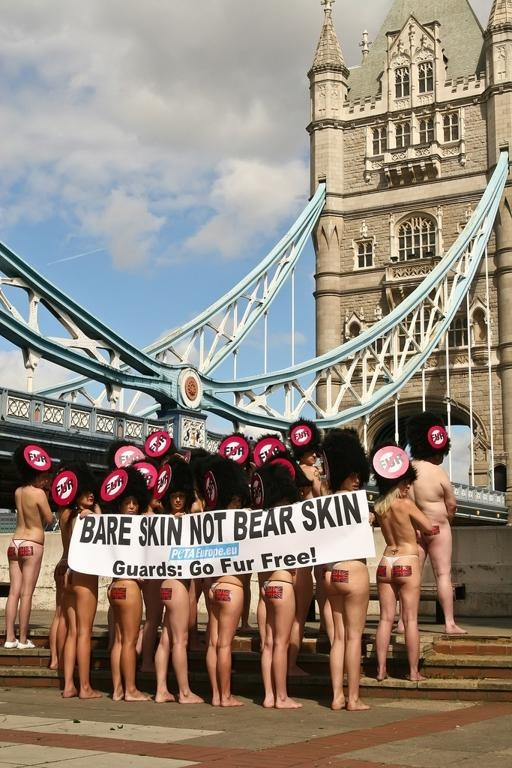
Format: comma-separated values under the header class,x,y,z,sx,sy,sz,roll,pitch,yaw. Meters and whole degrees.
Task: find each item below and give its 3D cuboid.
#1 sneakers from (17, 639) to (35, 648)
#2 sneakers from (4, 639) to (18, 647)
class,x,y,z,sx,sy,sz,roll,pitch,yaw
sneakers,-2.246,2.555,11.289,0.074,0.081,0.204,5,1,30
sneakers,-2.400,2.549,11.278,0.060,0.064,0.157,1,-13,2
